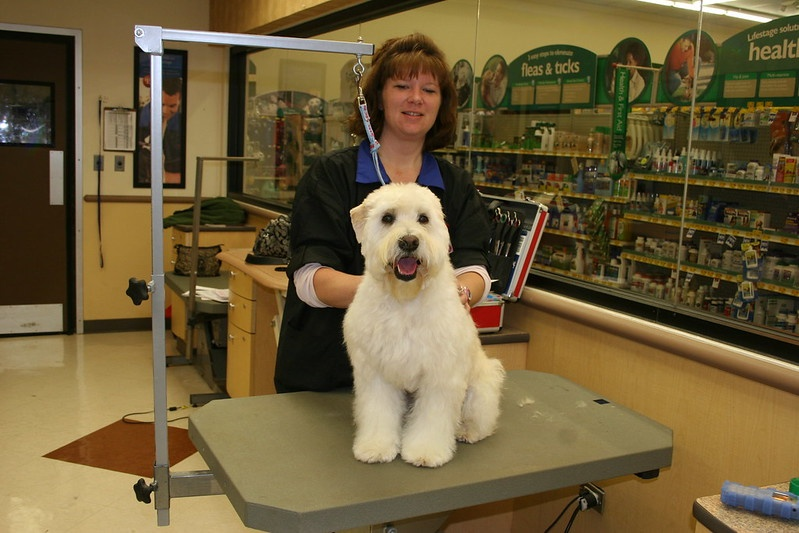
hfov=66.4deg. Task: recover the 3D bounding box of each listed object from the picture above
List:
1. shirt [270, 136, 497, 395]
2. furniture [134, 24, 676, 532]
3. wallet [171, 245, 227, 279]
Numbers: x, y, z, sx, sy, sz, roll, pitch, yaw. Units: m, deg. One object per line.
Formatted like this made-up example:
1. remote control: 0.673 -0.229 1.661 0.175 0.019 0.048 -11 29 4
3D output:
1. shirt: -0.040 -0.019 2.598 0.789 1.042 0.903 2 9 -3
2. furniture: -0.133 -0.207 3.231 2.529 2.484 1.945 -2 4 -34
3. wallet: -1.954 -0.045 5.936 0.305 0.236 0.125 1 10 -1
